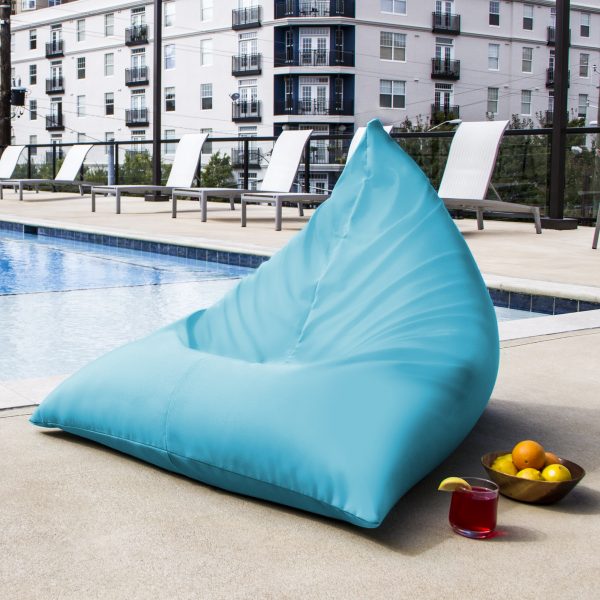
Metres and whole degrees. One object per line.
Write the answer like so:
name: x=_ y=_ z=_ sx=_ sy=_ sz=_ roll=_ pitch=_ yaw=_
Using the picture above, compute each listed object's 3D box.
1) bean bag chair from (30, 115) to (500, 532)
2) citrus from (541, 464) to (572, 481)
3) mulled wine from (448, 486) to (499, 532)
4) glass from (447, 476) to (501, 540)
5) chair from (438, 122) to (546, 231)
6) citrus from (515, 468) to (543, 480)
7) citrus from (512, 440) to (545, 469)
bean bag chair: x=-0.020 y=-0.038 z=1.890 sx=0.956 sy=0.925 sz=0.830 roll=6 pitch=11 yaw=32
citrus: x=0.586 y=0.389 z=1.618 sx=0.063 sy=0.027 sz=0.076 roll=3 pitch=9 yaw=18
mulled wine: x=0.357 y=0.434 z=1.461 sx=0.094 sy=0.093 sz=0.055 roll=2 pitch=10 yaw=10
glass: x=0.357 y=0.432 z=1.499 sx=0.110 sy=0.097 sz=0.104 roll=1 pitch=2 yaw=-5
chair: x=2.163 y=-1.484 z=8.067 sx=1.450 sy=1.540 sz=1.182 roll=-3 pitch=14 yaw=-9
citrus: x=0.523 y=0.394 z=1.615 sx=0.056 sy=0.019 sz=0.074 roll=3 pitch=9 yaw=18
citrus: x=0.537 y=0.367 z=1.684 sx=0.076 sy=0.064 sz=0.067 roll=10 pitch=-11 yaw=18
